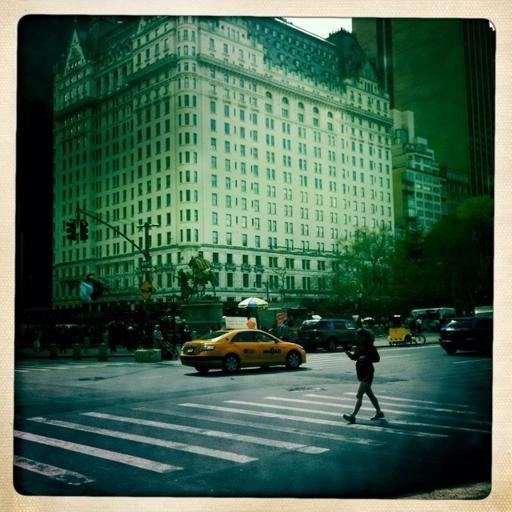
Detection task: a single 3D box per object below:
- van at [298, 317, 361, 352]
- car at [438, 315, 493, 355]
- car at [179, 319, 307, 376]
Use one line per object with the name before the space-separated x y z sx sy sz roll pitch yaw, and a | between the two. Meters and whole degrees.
van | 3.267 3.832 33.781 3.874 1.398 1.824 -2 -1 -34
car | 9.070 3.037 27.026 3.246 1.292 1.752 -1 -2 -34
car | -0.266 2.872 21.307 3.465 1.039 1.548 2 -9 -26
